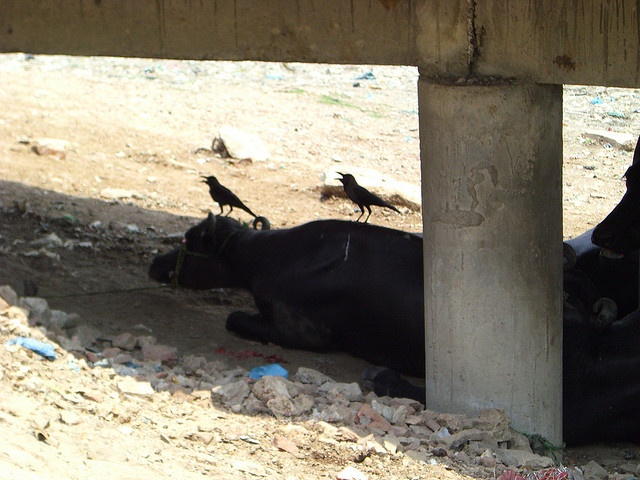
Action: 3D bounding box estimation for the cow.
[{"bbox_3d":[-0.151,0.473,9.910,3.136,1.362,1.041,12,-2,21],"label":"cow"}]
